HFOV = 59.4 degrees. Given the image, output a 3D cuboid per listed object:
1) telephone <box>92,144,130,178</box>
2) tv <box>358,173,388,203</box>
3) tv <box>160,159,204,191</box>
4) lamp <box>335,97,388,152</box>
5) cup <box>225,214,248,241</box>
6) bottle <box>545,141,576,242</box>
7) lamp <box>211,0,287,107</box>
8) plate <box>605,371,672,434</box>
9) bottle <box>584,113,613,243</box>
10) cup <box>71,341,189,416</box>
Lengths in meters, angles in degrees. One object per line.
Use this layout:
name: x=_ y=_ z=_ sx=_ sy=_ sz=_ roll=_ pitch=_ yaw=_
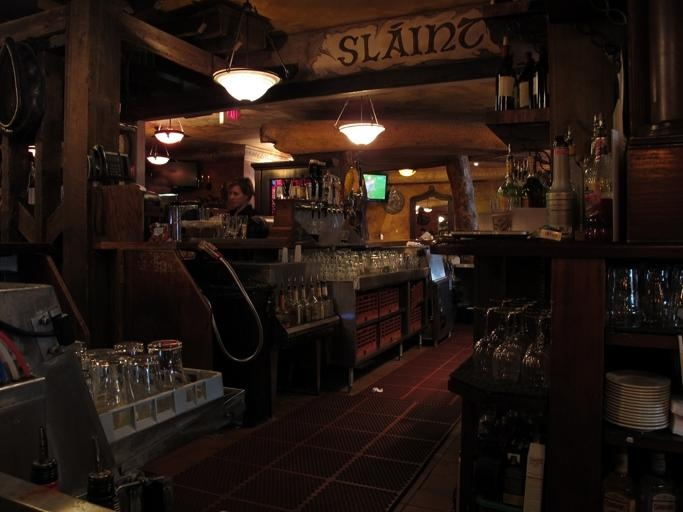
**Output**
telephone: x=-1.771 y=-0.705 z=4.627 sx=0.145 sy=0.265 sz=0.294 roll=-3 pitch=-1 yaw=28
tv: x=0.537 y=-1.174 z=10.125 sx=0.112 sy=0.677 sz=0.852 roll=1 pitch=3 yaw=39
tv: x=-3.308 y=-1.672 z=12.280 sx=0.611 sy=0.477 sz=0.171 roll=-1 pitch=10 yaw=-14
lamp: x=0.258 y=-1.927 z=8.635 sx=0.695 sy=0.681 sz=1.760 roll=0 pitch=4 yaw=1
cup: x=-0.853 y=-0.235 z=4.858 sx=0.171 sy=0.214 sz=0.181 roll=0 pitch=-3 yaw=0
bottle: x=1.051 y=-0.328 z=2.848 sx=0.188 sy=0.525 sz=0.199 roll=-3 pitch=8 yaw=0
lamp: x=-0.851 y=-1.824 z=5.738 sx=0.772 sy=1.280 sz=0.732 roll=1 pitch=2 yaw=-7
plate: x=1.257 y=0.608 z=2.549 sx=0.202 sy=0.204 sz=0.232 roll=0 pitch=1 yaw=0
bottle: x=1.210 y=-0.353 z=2.818 sx=0.131 sy=0.619 sz=0.138 roll=-5 pitch=19 yaw=2
cup: x=-0.830 y=0.459 z=2.369 sx=0.343 sy=0.143 sz=0.240 roll=-10 pitch=5 yaw=0
